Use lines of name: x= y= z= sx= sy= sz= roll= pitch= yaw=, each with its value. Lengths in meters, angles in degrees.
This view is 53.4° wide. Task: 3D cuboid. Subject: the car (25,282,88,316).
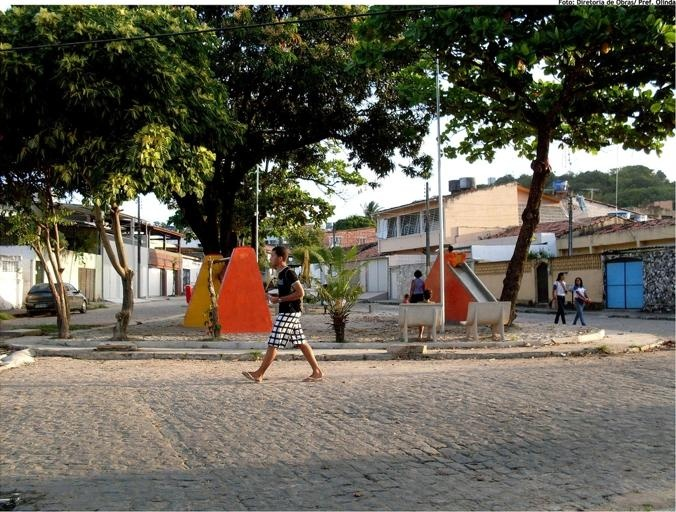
car: x=-12.568 y=1.911 z=29.842 sx=1.931 sy=1.321 sz=1.909 roll=0 pitch=-2 yaw=13

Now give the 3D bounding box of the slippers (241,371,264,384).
slippers: x=-1.443 y=2.054 z=11.450 sx=0.328 sy=0.094 sz=0.165 roll=32 pitch=-24 yaw=-3

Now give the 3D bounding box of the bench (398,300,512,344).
bench: x=2.915 y=1.642 z=16.965 sx=2.897 sy=0.967 sz=1.987 roll=0 pitch=-2 yaw=-2
